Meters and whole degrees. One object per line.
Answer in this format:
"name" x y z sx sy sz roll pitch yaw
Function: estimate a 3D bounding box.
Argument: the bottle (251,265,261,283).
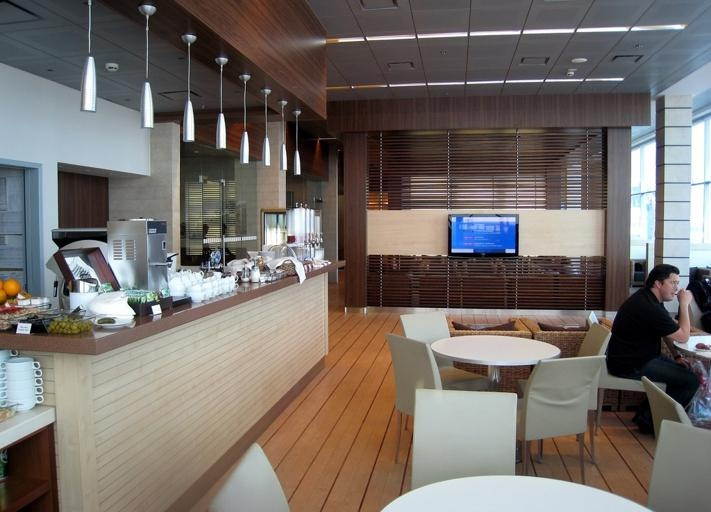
"bottle" -0.975 0.192 4.847 0.083 0.155 0.121 -1 6 -4

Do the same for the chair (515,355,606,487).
"chair" 1.412 1.277 3.890 0.693 0.964 0.745 1 0 1

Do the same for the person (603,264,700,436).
"person" 2.741 0.873 4.623 0.817 1.471 0.660 4 5 27

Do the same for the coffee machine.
"coffee machine" -1.498 -0.003 3.457 0.549 0.620 0.336 -1 3 8

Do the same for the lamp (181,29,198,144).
"lamp" -1.407 -1.378 4.183 0.166 0.882 0.164 11 25 4

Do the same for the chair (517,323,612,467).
"chair" 1.558 1.383 4.312 0.874 1.160 0.912 3 6 10
